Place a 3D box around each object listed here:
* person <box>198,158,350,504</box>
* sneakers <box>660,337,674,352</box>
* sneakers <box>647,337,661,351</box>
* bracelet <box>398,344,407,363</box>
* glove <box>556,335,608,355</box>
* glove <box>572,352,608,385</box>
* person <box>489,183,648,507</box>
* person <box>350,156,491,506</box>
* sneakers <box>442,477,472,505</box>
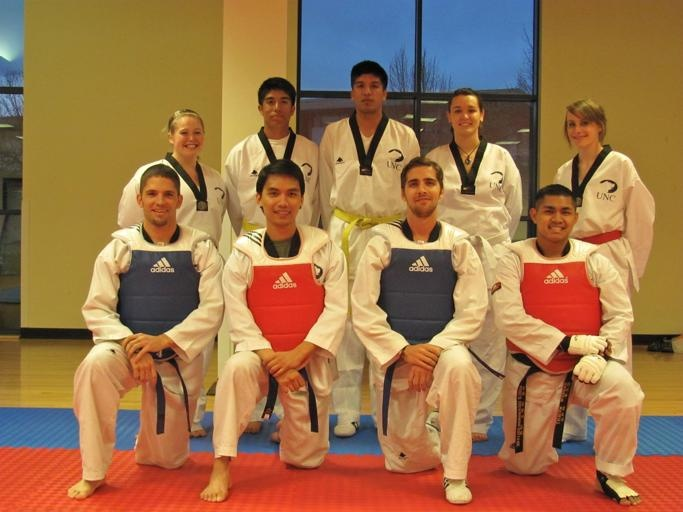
[{"bbox_3d":[-0.432,0.424,4.702,1.023,2.107,0.645,-3,10,-23],"label":"person"},{"bbox_3d":[3.801,1.058,8.237,0.108,0.193,0.202,3,-8,5],"label":"sneakers"},{"bbox_3d":[3.724,1.059,8.342,0.104,0.134,0.313,-2,-10,16],"label":"sneakers"},{"bbox_3d":[0.396,0.653,4.661,0.077,0.087,0.091,2,9,3],"label":"bracelet"},{"bbox_3d":[1.585,0.576,4.608,0.255,0.085,0.145,0,36,5],"label":"glove"},{"bbox_3d":[1.602,0.720,4.535,0.157,0.080,0.201,29,51,32],"label":"glove"},{"bbox_3d":[1.520,0.512,4.719,0.998,1.939,0.713,5,10,24],"label":"person"},{"bbox_3d":[0.603,0.420,4.713,0.965,2.125,0.629,9,12,41],"label":"person"},{"bbox_3d":[0.734,1.477,4.429,0.184,0.126,0.140,2,9,10],"label":"sneakers"}]
